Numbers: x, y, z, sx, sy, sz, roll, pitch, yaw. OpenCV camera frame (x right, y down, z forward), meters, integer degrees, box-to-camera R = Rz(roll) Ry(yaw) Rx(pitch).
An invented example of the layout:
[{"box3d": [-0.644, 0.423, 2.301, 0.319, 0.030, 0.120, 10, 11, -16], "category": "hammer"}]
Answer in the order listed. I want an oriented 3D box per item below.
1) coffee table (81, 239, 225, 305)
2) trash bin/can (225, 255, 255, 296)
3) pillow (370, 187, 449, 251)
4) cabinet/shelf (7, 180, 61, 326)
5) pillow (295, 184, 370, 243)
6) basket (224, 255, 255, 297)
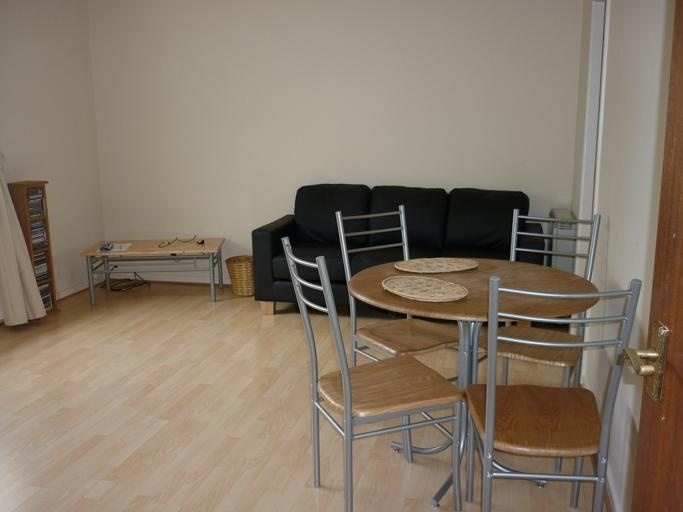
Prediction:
[{"box3d": [-1.822, -0.004, 4.976, 1.345, 0.595, 0.688, 0, 30, 1], "category": "coffee table"}, {"box3d": [-0.954, 0.188, 4.825, 0.365, 0.292, 0.378, -1, 2, -9], "category": "trash bin/can"}, {"box3d": [0.611, -0.311, 4.309, 0.583, 0.251, 0.462, 2, 53, 9], "category": "pillow"}, {"box3d": [-2.660, -0.070, 4.313, 0.231, 1.156, 0.364, -1, 12, 8], "category": "cabinet/shelf"}, {"box3d": [-0.083, -0.484, 4.791, 0.621, 0.591, 0.538, -2, 17, 7], "category": "pillow"}, {"box3d": [-0.973, 0.193, 4.818, 0.366, 0.315, 0.377, -1, 2, -7], "category": "basket"}]
